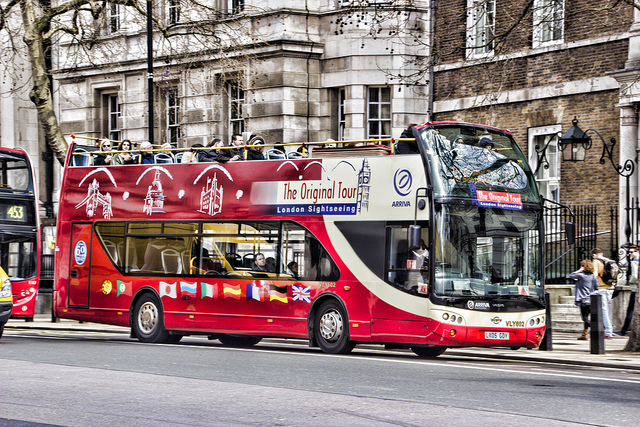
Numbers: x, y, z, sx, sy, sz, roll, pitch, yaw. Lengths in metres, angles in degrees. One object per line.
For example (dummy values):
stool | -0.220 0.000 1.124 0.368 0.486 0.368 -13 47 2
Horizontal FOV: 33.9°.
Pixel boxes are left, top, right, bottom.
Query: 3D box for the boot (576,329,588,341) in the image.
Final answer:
boot | 6.690 3.095 26.729 0.251 0.265 0.514 0 -1 4

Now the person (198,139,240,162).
person | -2.452 -1.517 25.602 0.635 0.258 0.809 1 1 26

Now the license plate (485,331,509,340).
license plate | 3.766 2.596 22.290 0.601 0.194 0.022 0 -1 -25

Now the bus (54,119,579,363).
bus | -0.354 0.688 27.409 5.485 5.237 16.055 3 -2 -42
